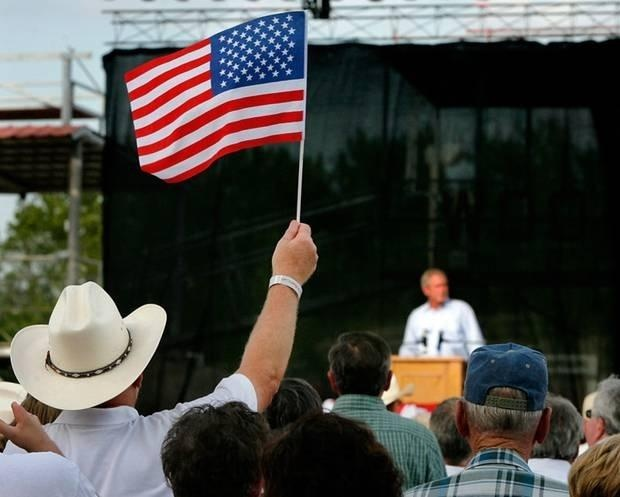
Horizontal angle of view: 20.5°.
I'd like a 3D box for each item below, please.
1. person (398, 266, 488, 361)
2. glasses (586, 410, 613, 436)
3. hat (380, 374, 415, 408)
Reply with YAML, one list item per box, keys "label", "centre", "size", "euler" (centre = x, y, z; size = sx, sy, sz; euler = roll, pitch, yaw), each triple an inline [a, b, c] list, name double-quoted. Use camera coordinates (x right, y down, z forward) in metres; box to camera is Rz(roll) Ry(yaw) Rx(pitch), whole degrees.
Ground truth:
- label: "person"
  centre: [1.999, 0.946, 24.481]
  size: [1.082, 1.714, 0.614]
  euler: [-5, -6, 9]
- label: "glasses"
  centre: [3.325, 1.948, 19.337]
  size: [0.220, 0.294, 0.162]
  euler: [12, -30, -36]
- label: "hat"
  centre: [1.087, 1.825, 21.479]
  size: [0.465, 0.195, 0.509]
  euler: [-22, -4, 3]
